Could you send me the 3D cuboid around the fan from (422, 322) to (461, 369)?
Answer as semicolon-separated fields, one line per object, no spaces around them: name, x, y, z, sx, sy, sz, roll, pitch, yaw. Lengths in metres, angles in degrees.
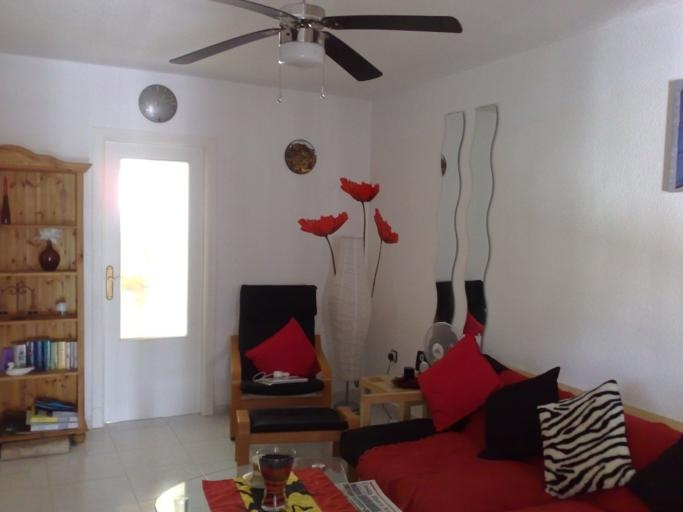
fan;0.762;0.664;4.085;0.075;0.296;0.289;0;-10;-31

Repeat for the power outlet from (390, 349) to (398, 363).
power outlet;0.470;0.939;5.052;0.027;0.123;0.120;3;-3;-29

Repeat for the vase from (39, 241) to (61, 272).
vase;-2.346;0.000;4.326;0.155;0.207;0.164;-3;2;-27

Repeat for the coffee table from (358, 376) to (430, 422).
coffee table;0.321;0.952;3.919;0.336;0.357;0.468;2;-4;-17

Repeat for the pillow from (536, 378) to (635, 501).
pillow;1.332;1.012;2.960;0.454;0.597;0.310;-2;2;19

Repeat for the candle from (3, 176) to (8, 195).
candle;-2.641;-0.554;4.226;0.028;0.121;0.060;-3;2;-32

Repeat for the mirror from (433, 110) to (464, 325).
mirror;0.899;-0.310;4.495;0.134;1.740;0.350;-3;2;-26

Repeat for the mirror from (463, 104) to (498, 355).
mirror;1.098;-0.307;4.214;0.137;1.702;0.299;-3;2;-28
